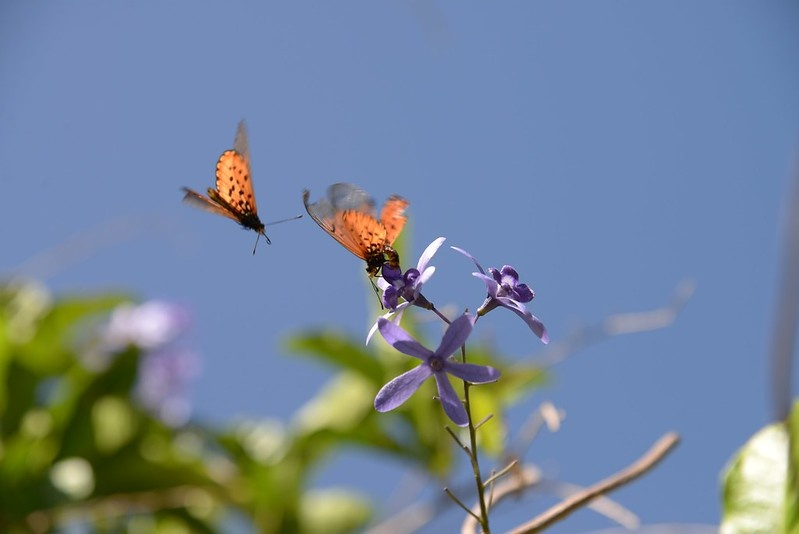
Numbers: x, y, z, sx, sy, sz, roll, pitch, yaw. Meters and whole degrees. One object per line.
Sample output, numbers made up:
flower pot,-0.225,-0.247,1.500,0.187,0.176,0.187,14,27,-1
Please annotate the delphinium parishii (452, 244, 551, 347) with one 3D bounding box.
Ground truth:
delphinium parishii,0.251,0.088,2.450,0.219,0.075,0.214,57,27,12

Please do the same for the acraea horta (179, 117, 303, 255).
acraea horta,-0.367,-0.238,2.649,0.196,0.336,0.356,-25,56,-25

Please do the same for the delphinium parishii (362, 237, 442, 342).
delphinium parishii,0.017,0.016,2.451,0.205,0.217,0.112,-16,13,0
